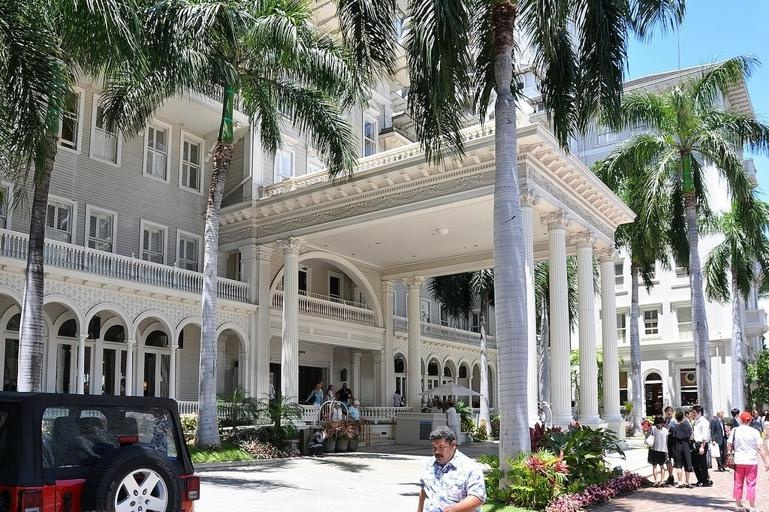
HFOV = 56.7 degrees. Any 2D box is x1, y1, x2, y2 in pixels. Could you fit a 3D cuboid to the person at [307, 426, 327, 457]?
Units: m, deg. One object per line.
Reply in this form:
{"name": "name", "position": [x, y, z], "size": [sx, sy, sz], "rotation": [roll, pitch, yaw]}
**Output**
{"name": "person", "position": [-2.576, 7.008, 26.969], "size": [0.609, 1.050, 0.949], "rotation": [-1, -17, -3]}

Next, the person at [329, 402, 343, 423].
{"name": "person", "position": [-2.013, 6.441, 29.321], "size": [0.536, 0.944, 0.330], "rotation": [-3, -25, 0]}

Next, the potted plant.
{"name": "potted plant", "position": [-2.537, 6.954, 28.045], "size": [2.066, 1.588, 2.081], "rotation": [15, -21, -41]}

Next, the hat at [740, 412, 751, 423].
{"name": "hat", "position": [8.690, 3.873, 17.139], "size": [0.209, 0.177, 0.319], "rotation": [-5, -13, 8]}
